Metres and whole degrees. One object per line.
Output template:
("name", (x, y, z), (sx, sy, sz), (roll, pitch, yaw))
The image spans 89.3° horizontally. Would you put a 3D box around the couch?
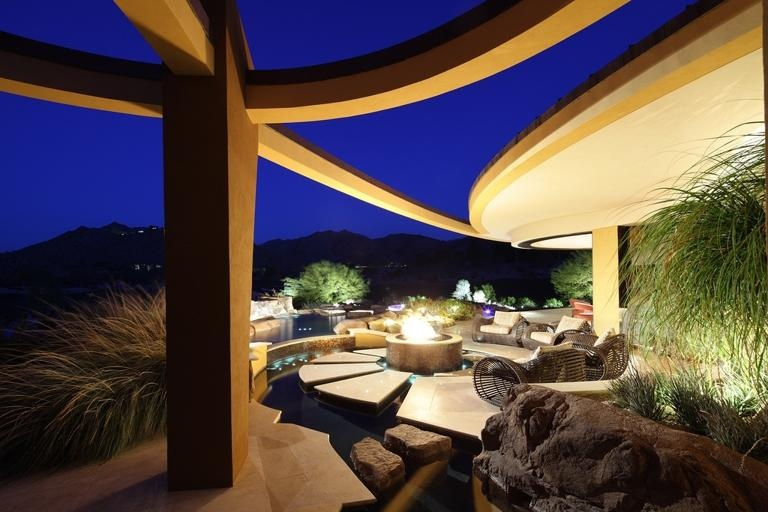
("couch", (2.781, 1.752, 6.406), (2.473, 1.125, 1.267), (1, 3, -31))
